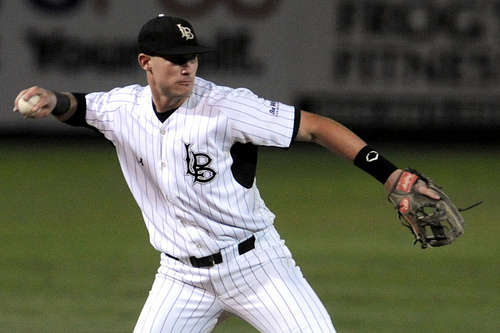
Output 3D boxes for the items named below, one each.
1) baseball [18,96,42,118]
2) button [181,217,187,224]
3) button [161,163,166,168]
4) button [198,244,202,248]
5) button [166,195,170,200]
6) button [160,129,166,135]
[{"bbox_3d":[-2.428,-0.660,8.587,0.241,0.248,0.148,2,14,4],"label":"baseball"},{"bbox_3d":[-0.737,0.584,8.601,0.044,0.060,0.014,-26,-4,-19],"label":"button"},{"bbox_3d":[-0.954,-0.027,8.574,0.048,0.048,0.012,1,1,1],"label":"button"},{"bbox_3d":[-0.556,0.857,8.585,0.038,0.045,0.005,2,14,3],"label":"button"},{"bbox_3d":[-0.908,0.328,8.593,0.052,0.059,0.009,7,16,23],"label":"button"},{"bbox_3d":[-0.965,-0.387,8.586,0.064,0.059,0.016,3,15,8],"label":"button"}]
